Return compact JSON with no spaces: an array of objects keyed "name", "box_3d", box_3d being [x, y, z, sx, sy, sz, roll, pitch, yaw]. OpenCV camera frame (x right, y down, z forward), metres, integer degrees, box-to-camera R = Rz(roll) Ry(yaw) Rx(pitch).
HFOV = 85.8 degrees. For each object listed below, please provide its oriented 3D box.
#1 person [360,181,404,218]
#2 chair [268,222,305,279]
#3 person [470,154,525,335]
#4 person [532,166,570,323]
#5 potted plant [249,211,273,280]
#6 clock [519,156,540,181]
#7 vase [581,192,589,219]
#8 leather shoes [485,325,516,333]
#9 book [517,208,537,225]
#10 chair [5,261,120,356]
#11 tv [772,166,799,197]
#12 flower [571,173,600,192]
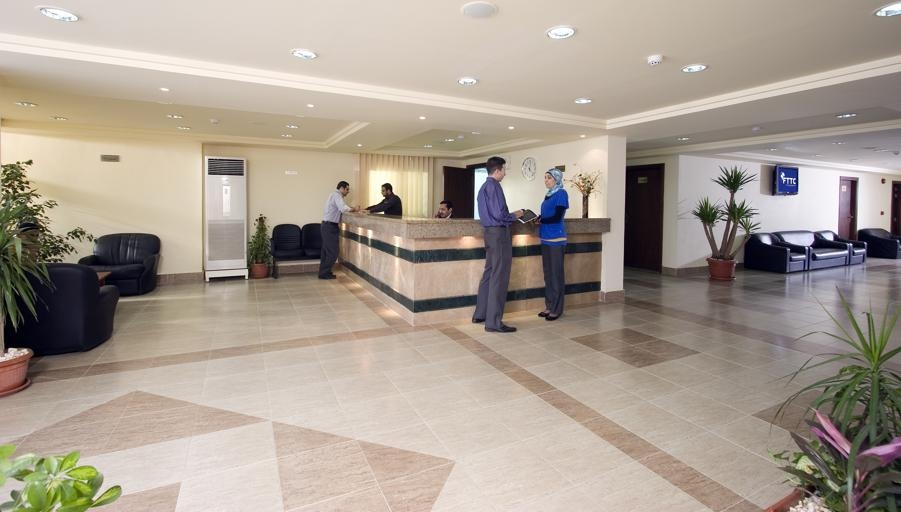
[{"name":"person","box_3d":[-1.600,-1.338,11.446,0.981,0.714,0.722,6,14,15]},{"name":"chair","box_3d":[-3.950,-0.170,11.802,0.748,1.164,0.820,-3,13,-17]},{"name":"person","box_3d":[0.767,-0.178,7.870,0.579,2.774,0.612,-3,13,-15]},{"name":"person","box_3d":[1.794,-0.207,8.522,0.515,2.582,0.686,1,13,3]},{"name":"potted plant","box_3d":[-4.506,-0.212,11.519,0.529,1.389,0.551,11,16,39]},{"name":"clock","box_3d":[1.913,-2.100,11.523,0.100,0.632,0.704,-4,5,-28]},{"name":"vase","box_3d":[2.751,-1.033,9.817,0.149,0.441,0.185,4,13,14]},{"name":"leather shoes","box_3d":[0.837,1.198,7.987,0.496,0.119,0.172,-1,-3,-5]},{"name":"book","box_3d":[1.349,-0.634,8.125,0.293,0.270,0.069,15,-5,36]},{"name":"chair","box_3d":[-5.395,0.708,7.324,1.265,1.281,1.329,0,8,-16]},{"name":"tv","box_3d":[9.579,-2.166,13.909,1.018,0.661,0.135,0,0,-26]},{"name":"flower","box_3d":[2.757,-1.474,9.810,0.431,0.241,0.417,1,-2,-13]}]
